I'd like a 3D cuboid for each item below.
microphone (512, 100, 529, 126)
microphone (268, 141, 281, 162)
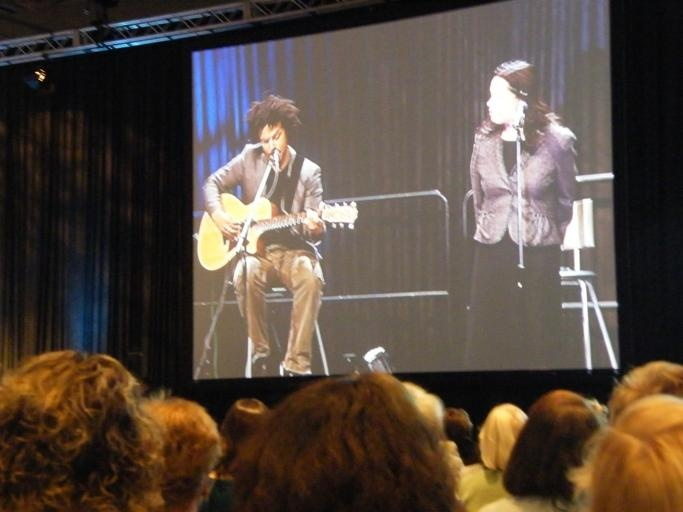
[{"bbox_3d":[1.942,-1.552,10.398,0.162,0.268,0.057,13,-1,34],"label":"microphone"},{"bbox_3d":[-0.760,-1.204,11.142,0.134,0.195,0.047,20,4,29],"label":"microphone"}]
